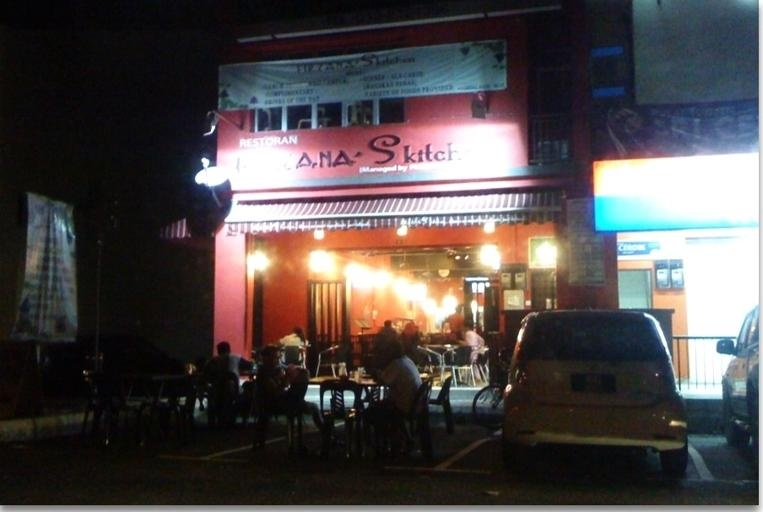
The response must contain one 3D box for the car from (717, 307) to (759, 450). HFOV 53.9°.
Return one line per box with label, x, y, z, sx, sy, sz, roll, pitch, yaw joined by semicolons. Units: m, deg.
car;6.819;2.325;14.308;0.631;2.791;2.211;-1;-3;18
